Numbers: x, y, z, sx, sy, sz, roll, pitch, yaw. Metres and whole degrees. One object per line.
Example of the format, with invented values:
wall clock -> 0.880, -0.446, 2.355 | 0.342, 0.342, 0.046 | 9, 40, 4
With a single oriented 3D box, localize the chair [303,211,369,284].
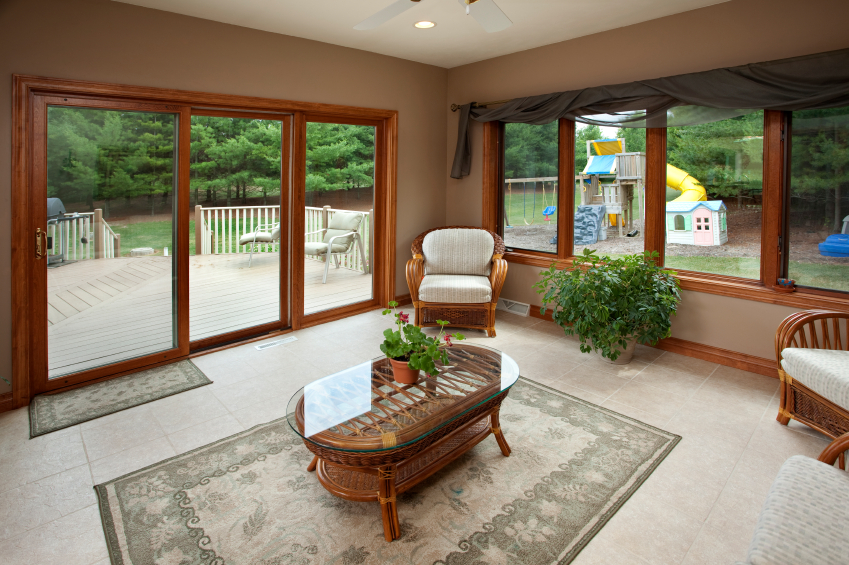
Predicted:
chair -> -1.164, -0.469, 6.352 | 0.631, 0.746, 0.808 | 10, 16, 31

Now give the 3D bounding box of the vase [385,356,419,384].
vase -> -0.149, 0.620, 3.747 | 0.191, 0.125, 0.186 | 1, 0, -3

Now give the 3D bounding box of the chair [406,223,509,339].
chair -> 0.355, -0.044, 6.040 | 1.140, 1.051, 1.245 | 3, 13, 15

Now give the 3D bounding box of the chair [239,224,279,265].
chair -> -1.779, -0.439, 5.602 | 0.483, 0.460, 0.304 | -2, 15, -25

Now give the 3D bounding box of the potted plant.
potted plant -> 1.801, 0.176, 4.893 | 1.220, 0.939, 0.574 | -3, 12, -10
